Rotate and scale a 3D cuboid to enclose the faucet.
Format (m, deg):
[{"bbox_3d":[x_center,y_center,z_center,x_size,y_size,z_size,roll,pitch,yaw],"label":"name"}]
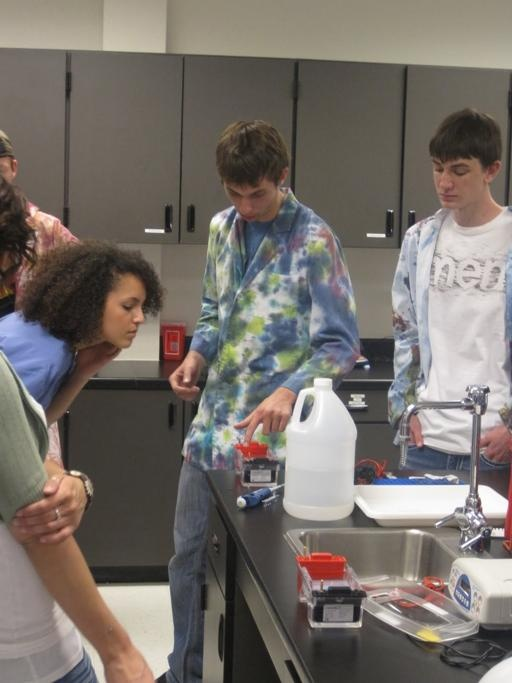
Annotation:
[{"bbox_3d":[0.326,0.175,1.219,0.136,0.201,0.169,3,9,31],"label":"faucet"}]

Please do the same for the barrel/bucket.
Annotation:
[{"bbox_3d":[0.110,0.192,1.240,0.130,0.250,0.099,-2,8,1],"label":"barrel/bucket"}]
